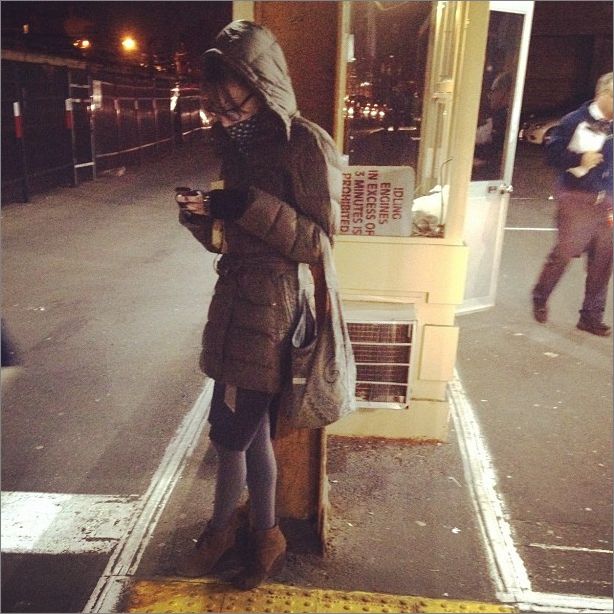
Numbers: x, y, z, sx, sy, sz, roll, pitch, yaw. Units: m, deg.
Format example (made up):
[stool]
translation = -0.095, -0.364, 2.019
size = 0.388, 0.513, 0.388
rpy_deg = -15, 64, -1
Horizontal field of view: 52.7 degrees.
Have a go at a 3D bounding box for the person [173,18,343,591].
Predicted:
[person]
translation = -0.174, 0.114, 2.469
size = 0.701, 2.331, 0.451
rpy_deg = 3, 22, 7

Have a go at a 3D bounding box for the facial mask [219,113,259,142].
[facial mask]
translation = -0.239, -0.653, 2.249
size = 0.091, 0.056, 0.101
rpy_deg = -21, 25, 20
